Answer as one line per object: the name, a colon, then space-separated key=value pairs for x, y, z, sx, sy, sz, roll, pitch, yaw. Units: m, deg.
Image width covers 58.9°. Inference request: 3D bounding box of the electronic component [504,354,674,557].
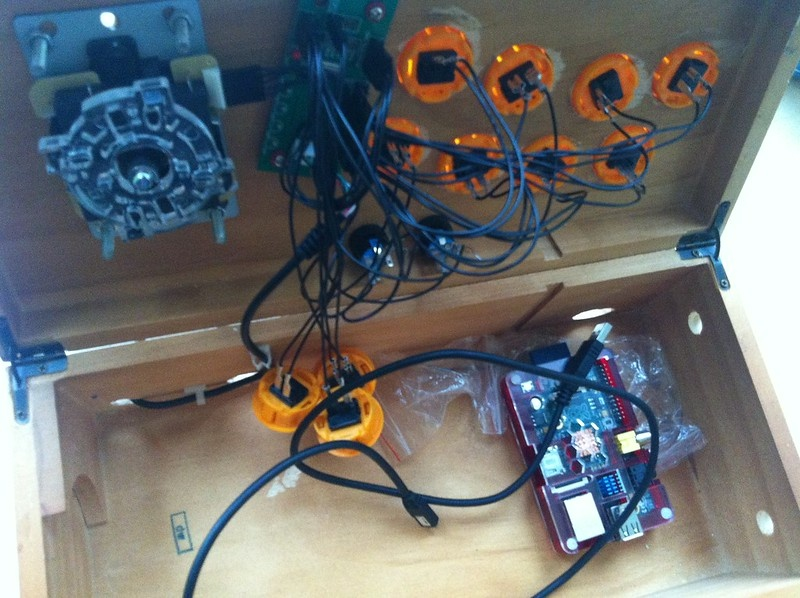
electronic component: x=0.331 y=0.263 z=1.305 sx=0.244 sy=0.374 sz=0.107 roll=-17 pitch=-14 yaw=-9
